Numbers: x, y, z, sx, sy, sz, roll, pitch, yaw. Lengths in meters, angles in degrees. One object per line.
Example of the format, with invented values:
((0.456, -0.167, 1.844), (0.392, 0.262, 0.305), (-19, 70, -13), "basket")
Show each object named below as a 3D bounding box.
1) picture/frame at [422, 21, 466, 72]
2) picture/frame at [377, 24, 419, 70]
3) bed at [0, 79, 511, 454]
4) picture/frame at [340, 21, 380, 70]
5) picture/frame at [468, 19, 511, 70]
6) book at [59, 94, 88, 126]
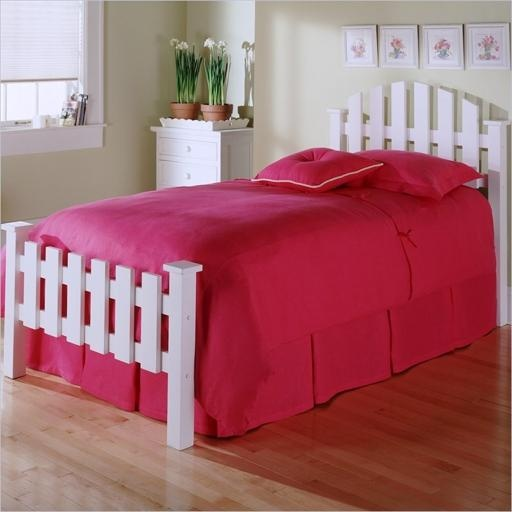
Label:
((1.048, -1.170, 2.962), (0.295, 0.293, 0.021), (9, 16, 44), "picture/frame")
((0.839, -1.235, 3.137), (0.291, 0.286, 0.020), (8, 14, 43), "picture/frame")
((0.183, -0.240, 2.520), (1.254, 1.463, 2.229), (5, 7, 43), "bed")
((0.645, -1.302, 3.284), (0.317, 0.313, 0.034), (9, 16, 43), "picture/frame")
((1.229, -1.117, 2.803), (0.024, 0.281, 0.284), (-14, 18, -43), "picture/frame")
((-1.430, -1.147, 4.150), (0.209, 0.265, 0.073), (4, 0, -2), "book")
